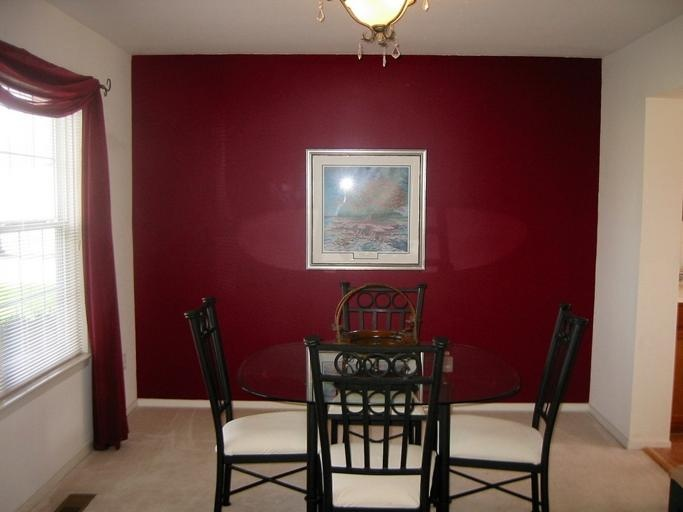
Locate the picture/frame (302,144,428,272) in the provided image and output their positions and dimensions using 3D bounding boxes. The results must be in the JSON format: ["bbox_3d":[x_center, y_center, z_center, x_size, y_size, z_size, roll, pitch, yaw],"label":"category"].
[{"bbox_3d":[0.228,-0.490,4.899,0.987,1.109,0.071,1,3,-1],"label":"picture/frame"}]
